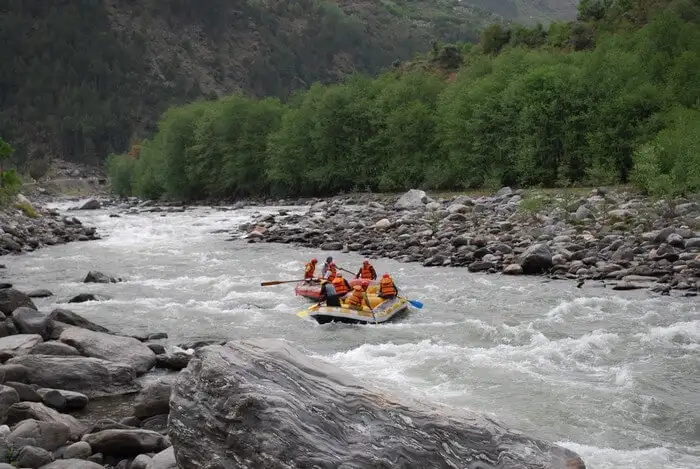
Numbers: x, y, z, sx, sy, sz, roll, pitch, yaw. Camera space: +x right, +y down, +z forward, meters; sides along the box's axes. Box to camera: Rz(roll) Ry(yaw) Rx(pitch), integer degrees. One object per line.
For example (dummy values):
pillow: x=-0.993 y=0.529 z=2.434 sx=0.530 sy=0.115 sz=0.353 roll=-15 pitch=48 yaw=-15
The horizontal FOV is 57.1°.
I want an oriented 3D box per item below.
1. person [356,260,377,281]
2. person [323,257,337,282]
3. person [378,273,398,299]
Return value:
person: x=0.746 y=1.802 z=31.475 sx=1.132 sy=1.619 sz=0.531 roll=-1 pitch=-2 yaw=13
person: x=-1.001 y=1.662 z=30.099 sx=0.427 sy=1.102 sz=0.971 roll=-4 pitch=7 yaw=-12
person: x=1.587 y=2.291 z=28.196 sx=1.013 sy=1.016 sz=0.998 roll=-3 pitch=46 yaw=4
